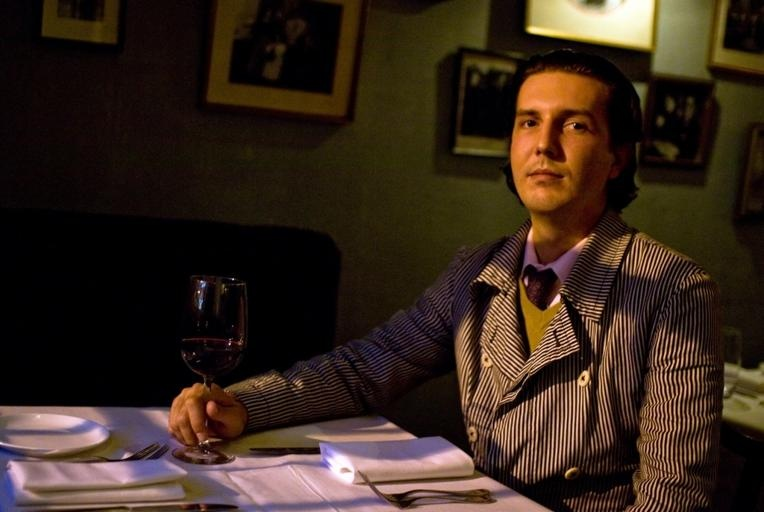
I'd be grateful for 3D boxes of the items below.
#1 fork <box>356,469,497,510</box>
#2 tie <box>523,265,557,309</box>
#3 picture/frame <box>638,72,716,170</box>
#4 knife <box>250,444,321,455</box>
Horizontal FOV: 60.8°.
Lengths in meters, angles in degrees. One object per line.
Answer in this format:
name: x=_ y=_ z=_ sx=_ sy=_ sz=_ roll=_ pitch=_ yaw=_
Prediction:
fork: x=0.091 y=0.532 z=1.477 sx=0.260 sy=0.053 sz=0.054 roll=3 pitch=11 yaw=-13
tie: x=0.462 y=0.090 z=1.883 sx=0.075 sy=0.133 sz=0.031 roll=-2 pitch=-11 yaw=14
picture/frame: x=1.348 y=-0.636 z=3.002 sx=0.483 sy=0.547 sz=0.063 roll=4 pitch=4 yaw=-16
knife: x=-0.241 y=0.484 z=1.624 sx=0.131 sy=0.010 sz=0.035 roll=1 pitch=-2 yaw=-1
